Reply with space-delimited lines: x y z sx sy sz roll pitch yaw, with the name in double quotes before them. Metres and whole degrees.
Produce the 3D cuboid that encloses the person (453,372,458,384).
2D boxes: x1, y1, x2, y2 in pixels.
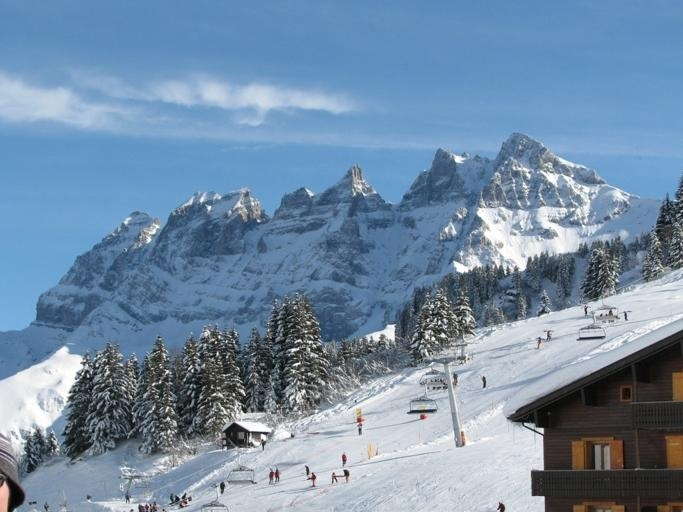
"person" 29.407 32.350 407.774 0.810 2.863 1.540 1 7 1
